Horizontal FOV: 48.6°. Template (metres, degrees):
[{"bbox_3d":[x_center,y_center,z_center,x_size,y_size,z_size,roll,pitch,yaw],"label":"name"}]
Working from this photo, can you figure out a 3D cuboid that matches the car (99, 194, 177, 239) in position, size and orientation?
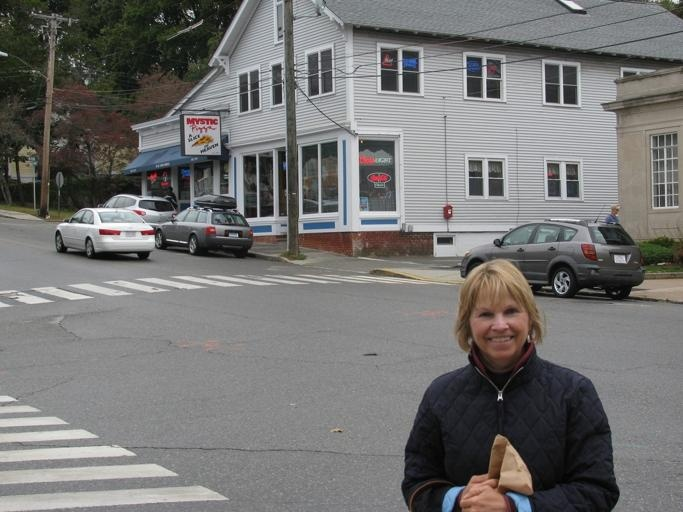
[{"bbox_3d":[-9.047,-1.899,33.757,1.492,1.248,3.203,1,6,-33],"label":"car"}]

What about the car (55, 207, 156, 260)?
[{"bbox_3d":[-8.253,-0.755,26.335,3.534,1.760,1.497,3,5,36],"label":"car"}]

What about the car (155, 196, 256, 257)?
[{"bbox_3d":[-5.396,-0.959,29.623,3.891,1.895,1.641,4,6,43],"label":"car"}]
